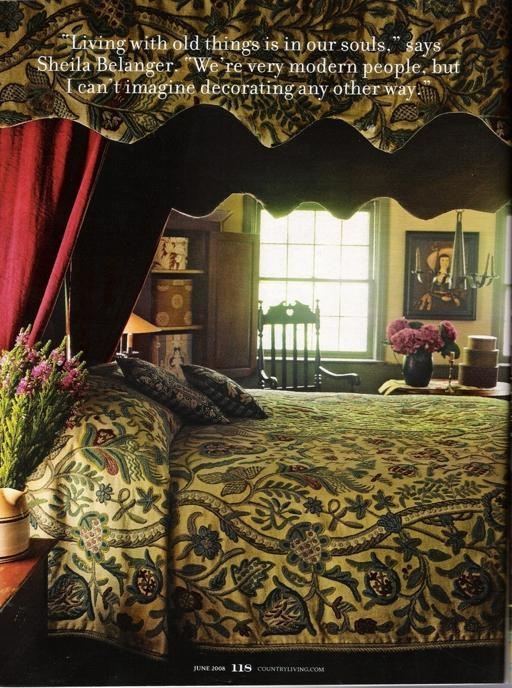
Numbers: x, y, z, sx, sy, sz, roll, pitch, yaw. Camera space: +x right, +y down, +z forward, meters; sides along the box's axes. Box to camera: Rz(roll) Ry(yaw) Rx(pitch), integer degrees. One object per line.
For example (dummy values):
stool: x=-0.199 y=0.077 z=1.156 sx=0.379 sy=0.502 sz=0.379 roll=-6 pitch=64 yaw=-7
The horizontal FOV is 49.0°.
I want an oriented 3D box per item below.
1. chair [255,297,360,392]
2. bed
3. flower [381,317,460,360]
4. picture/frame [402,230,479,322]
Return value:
chair: x=0.339 y=0.017 z=3.885 sx=0.672 sy=0.617 sz=0.543 roll=2 pitch=0 yaw=0
bed: x=0.068 y=0.506 z=1.664 sx=1.116 sy=0.343 sz=0.820 roll=0 pitch=12 yaw=1
flower: x=1.017 y=-0.039 z=3.407 sx=0.314 sy=0.154 sz=0.295 roll=-9 pitch=6 yaw=-6
picture/frame: x=1.278 y=-0.501 z=3.967 sx=0.764 sy=0.819 sz=0.061 roll=0 pitch=2 yaw=-3
